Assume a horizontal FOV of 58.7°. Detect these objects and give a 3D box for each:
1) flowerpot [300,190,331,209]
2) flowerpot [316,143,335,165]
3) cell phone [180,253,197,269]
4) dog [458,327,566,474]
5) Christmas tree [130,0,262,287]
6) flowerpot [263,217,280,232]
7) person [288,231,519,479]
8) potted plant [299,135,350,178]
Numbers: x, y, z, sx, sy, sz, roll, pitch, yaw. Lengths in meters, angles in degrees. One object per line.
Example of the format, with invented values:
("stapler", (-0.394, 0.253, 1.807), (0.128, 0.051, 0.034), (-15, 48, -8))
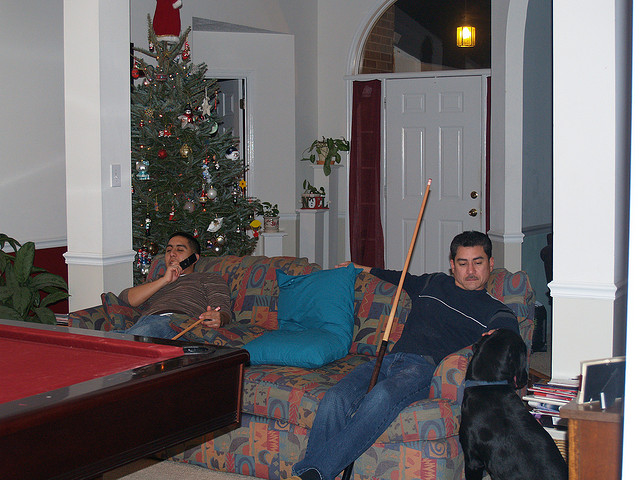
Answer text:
("flowerpot", (-0.049, -0.496, 6.927), (0.205, 0.151, 0.355), (0, -3, 2))
("flowerpot", (0.046, -1.061, 7.122), (0.214, 0.262, 0.222), (-1, -2, 35))
("cell phone", (-0.869, 0.131, 3.692), (0.019, 0.069, 0.180), (-2, 20, 35))
("dog", (0.737, 0.593, 2.526), (0.223, 0.823, 0.551), (-9, -23, 10))
("Christmas tree", (-1.065, -0.822, 4.765), (0.984, 2.351, 0.667), (1, 9, -20))
("flowerpot", (-0.560, -0.177, 6.448), (0.142, 0.141, 0.145), (1, 2, 5))
("person", (0.357, 0.605, 2.725), (1.136, 0.564, 1.042), (-30, 26, -34))
("potted plant", (0.050, -1.089, 7.100), (0.525, 0.424, 0.545), (-1, 0, 35))
